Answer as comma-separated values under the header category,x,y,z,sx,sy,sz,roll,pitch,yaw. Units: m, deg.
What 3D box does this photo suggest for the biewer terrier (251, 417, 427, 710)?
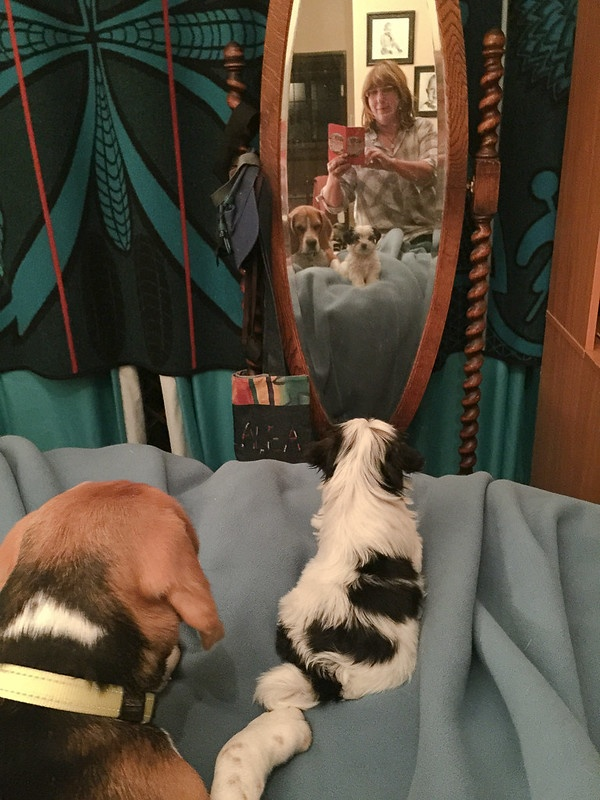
category,x,y,z,sx,sy,sz,roll,pitch,yaw
biewer terrier,0.084,0.211,0.965,0.168,0.409,0.197,4,-26,21

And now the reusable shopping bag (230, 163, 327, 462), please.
category,x,y,z,sx,sy,sz,roll,pitch,yaw
reusable shopping bag,-0.061,-0.195,1.605,0.242,0.716,0.128,-1,16,5
